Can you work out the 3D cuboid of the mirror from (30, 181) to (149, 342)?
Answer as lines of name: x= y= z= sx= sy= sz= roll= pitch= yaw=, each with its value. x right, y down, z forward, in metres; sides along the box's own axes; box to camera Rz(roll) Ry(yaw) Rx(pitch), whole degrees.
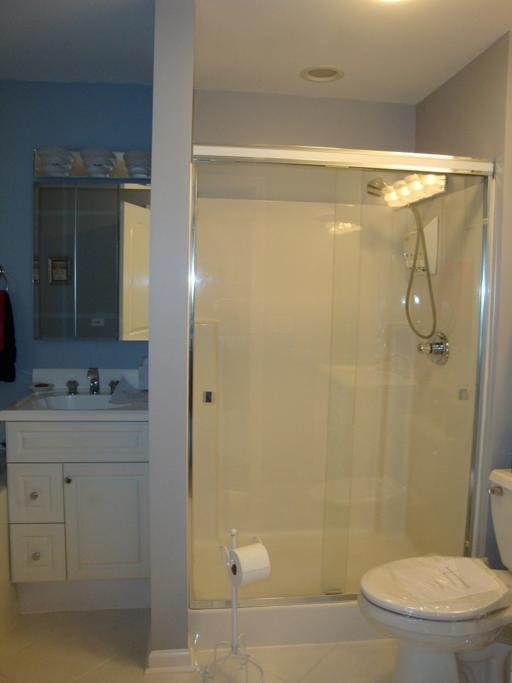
mirror: x=-0.782 y=-0.375 z=2.962 sx=0.642 sy=0.718 sz=0.046 roll=0 pitch=2 yaw=-12

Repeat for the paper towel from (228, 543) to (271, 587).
paper towel: x=-0.021 y=0.731 z=2.203 sx=0.136 sy=0.134 sz=0.115 roll=5 pitch=-4 yaw=-29

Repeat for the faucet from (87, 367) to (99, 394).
faucet: x=-0.746 y=0.179 z=2.991 sx=0.053 sy=0.118 sz=0.089 roll=-3 pitch=3 yaw=-15

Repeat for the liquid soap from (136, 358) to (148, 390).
liquid soap: x=-0.526 y=0.151 z=3.009 sx=0.024 sy=0.143 sz=0.107 roll=-4 pitch=3 yaw=-33
